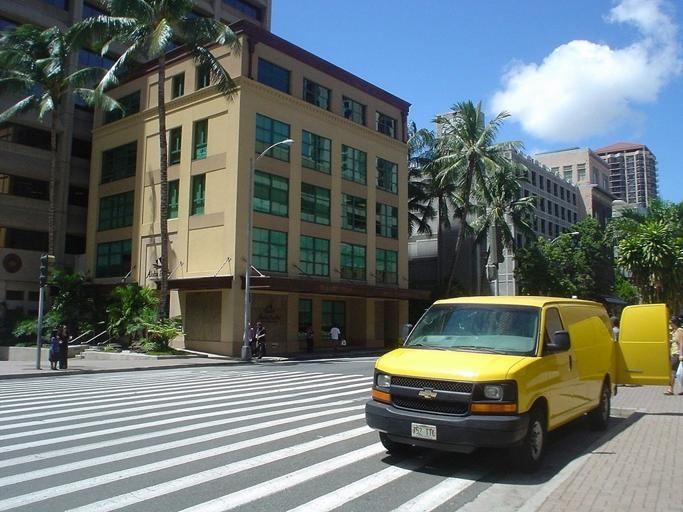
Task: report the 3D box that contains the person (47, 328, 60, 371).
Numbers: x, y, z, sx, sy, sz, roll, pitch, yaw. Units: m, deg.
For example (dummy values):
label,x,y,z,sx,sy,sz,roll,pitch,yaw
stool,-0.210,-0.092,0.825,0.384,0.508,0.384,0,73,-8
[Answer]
label,x,y,z,sx,sy,sz,roll,pitch,yaw
person,-12.393,4.037,22.096,0.347,1.653,1.315,3,-7,-29

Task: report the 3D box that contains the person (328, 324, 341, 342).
label,x,y,z,sx,sy,sz,roll,pitch,yaw
person,-0.604,5.618,37.303,1.082,1.327,0.639,2,8,21
